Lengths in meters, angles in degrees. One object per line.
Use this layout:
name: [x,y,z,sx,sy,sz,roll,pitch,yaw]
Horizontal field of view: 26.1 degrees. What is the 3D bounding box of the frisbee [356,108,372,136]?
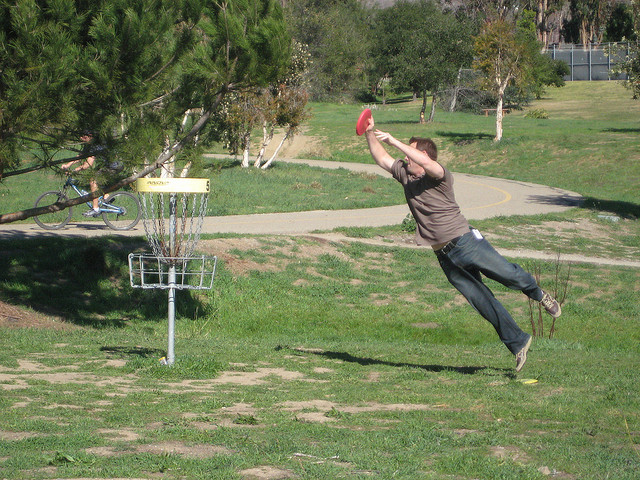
frisbee: [1.176,-3.258,37.612,0.153,0.630,0.643,25,1,30]
